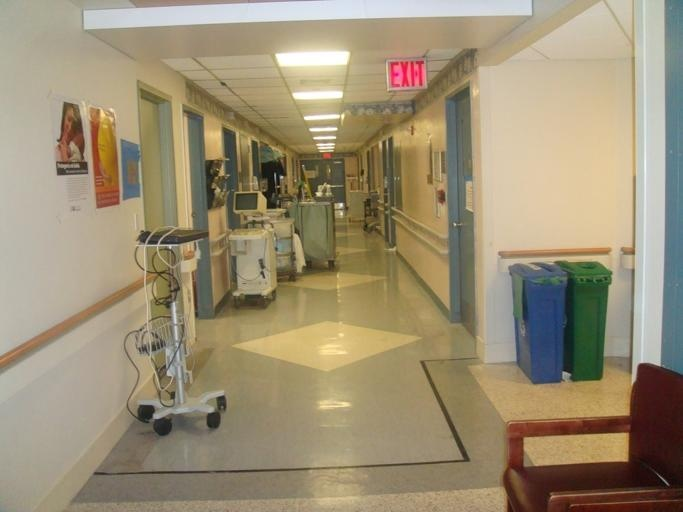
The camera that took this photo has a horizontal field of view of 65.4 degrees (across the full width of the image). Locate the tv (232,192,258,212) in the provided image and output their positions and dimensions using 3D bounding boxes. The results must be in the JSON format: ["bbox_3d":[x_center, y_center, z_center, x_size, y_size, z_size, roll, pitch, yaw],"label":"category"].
[{"bbox_3d":[-1.409,-0.769,7.847,0.400,0.344,0.274,-1,-5,6],"label":"tv"}]
